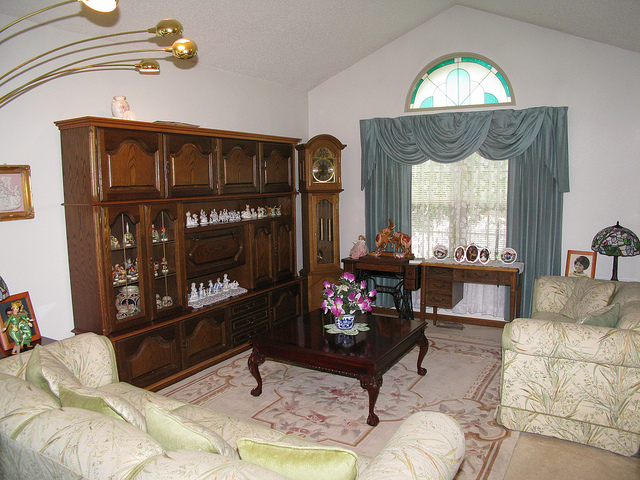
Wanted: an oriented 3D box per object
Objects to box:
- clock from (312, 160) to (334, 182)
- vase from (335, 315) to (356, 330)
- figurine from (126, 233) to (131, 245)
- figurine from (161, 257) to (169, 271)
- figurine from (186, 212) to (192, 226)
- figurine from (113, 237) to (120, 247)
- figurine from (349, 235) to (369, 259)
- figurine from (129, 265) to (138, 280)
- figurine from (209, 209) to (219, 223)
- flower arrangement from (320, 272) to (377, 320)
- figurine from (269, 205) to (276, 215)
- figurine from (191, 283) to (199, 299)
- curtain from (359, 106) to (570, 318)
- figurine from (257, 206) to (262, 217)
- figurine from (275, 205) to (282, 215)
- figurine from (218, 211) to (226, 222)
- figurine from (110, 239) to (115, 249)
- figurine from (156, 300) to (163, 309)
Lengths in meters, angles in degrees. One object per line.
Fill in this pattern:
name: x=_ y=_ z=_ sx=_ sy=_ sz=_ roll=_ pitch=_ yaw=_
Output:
clock: x=0.026 y=-1.037 z=6.584 sx=0.299 sy=0.357 sz=0.044 roll=-2 pitch=6 yaw=-15
vase: x=0.258 y=0.831 z=4.483 sx=0.144 sy=0.102 sz=0.151 roll=1 pitch=-4 yaw=-23
figurine: x=-1.868 y=-0.009 z=4.305 sx=0.010 sy=0.113 sz=0.041 roll=9 pitch=16 yaw=38
figurine: x=-1.638 y=0.257 z=4.675 sx=0.018 sy=0.150 sz=0.073 roll=6 pitch=14 yaw=29
figurine: x=-1.468 y=-0.237 z=4.971 sx=0.049 sy=0.138 sz=0.105 roll=-5 pitch=13 yaw=-19
figurine: x=-1.931 y=0.026 z=4.216 sx=0.023 sy=0.060 sz=0.058 roll=-22 pitch=-11 yaw=26
figurine: x=0.576 y=0.097 z=6.537 sx=0.300 sy=0.342 sz=0.286 roll=-4 pitch=-4 yaw=31
figurine: x=-1.839 y=0.339 z=4.377 sx=0.074 sy=0.103 sz=0.036 roll=9 pitch=6 yaw=33
figurine: x=-1.278 y=-0.285 z=5.315 sx=0.068 sy=0.207 sz=0.150 roll=1 pitch=7 yaw=32
flower arrangement: x=0.297 y=0.564 z=4.607 sx=0.486 sy=0.474 sz=0.408 roll=5 pitch=7 yaw=34
figurine: x=-0.646 y=-0.408 z=6.075 sx=0.068 sy=0.126 sz=0.071 roll=2 pitch=0 yaw=33
figurine: x=-1.457 y=0.580 z=5.155 sx=0.082 sy=0.164 sz=0.165 roll=-5 pitch=12 yaw=-17
curtain: x=2.070 y=-0.388 z=6.069 sx=2.819 sy=2.948 sz=0.240 roll=2 pitch=8 yaw=26
figurine: x=-0.798 y=-0.367 z=5.866 sx=0.056 sy=0.113 sz=0.119 roll=-3 pitch=12 yaw=-9
figurine: x=-0.567 y=-0.407 z=6.130 sx=0.078 sy=0.104 sz=0.081 roll=0 pitch=-1 yaw=-4
figurine: x=-1.200 y=-0.289 z=5.443 sx=0.077 sy=0.115 sz=0.171 roll=-4 pitch=12 yaw=-12
figurine: x=-1.955 y=0.039 z=4.177 sx=0.013 sy=0.091 sz=0.046 roll=1 pitch=12 yaw=10
figurine: x=-1.672 y=0.665 z=4.626 sx=0.055 sy=0.084 sz=0.081 roll=-5 pitch=13 yaw=-20
